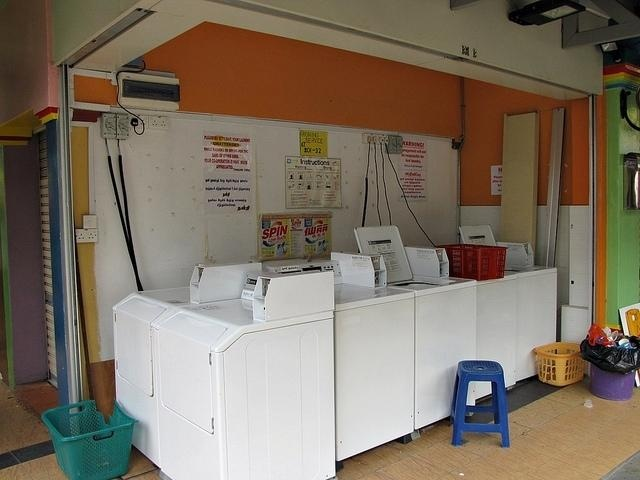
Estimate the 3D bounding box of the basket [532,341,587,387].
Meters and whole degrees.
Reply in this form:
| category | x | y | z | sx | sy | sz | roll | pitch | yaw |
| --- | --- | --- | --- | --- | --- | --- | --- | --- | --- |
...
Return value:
| category | x | y | z | sx | sy | sz | roll | pitch | yaw |
| --- | --- | --- | --- | --- | --- | --- | --- | --- | --- |
| basket | 2.367 | 1.186 | 4.754 | 0.460 | 0.308 | 0.375 | -6 | 8 | -21 |

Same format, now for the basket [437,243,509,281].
| category | x | y | z | sx | sy | sz | roll | pitch | yaw |
| --- | --- | --- | --- | --- | --- | --- | --- | --- | --- |
| basket | 1.391 | 0.180 | 4.388 | 0.322 | 0.240 | 0.478 | -4 | 2 | -37 |

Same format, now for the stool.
| category | x | y | z | sx | sy | sz | roll | pitch | yaw |
| --- | --- | --- | --- | --- | --- | --- | --- | --- | --- |
| stool | 1.254 | 1.275 | 3.755 | 0.499 | 0.564 | 0.502 | -2 | 3 | -11 |
